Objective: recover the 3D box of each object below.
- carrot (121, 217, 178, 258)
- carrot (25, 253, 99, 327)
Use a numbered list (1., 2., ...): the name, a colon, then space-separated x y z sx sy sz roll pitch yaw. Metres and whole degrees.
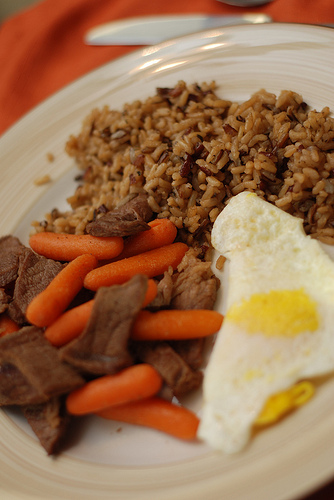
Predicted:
1. carrot: -0.083 -0.047 2.234 0.297 0.105 0.110 -16 40 -5
2. carrot: -0.436 0.146 2.057 0.149 0.134 0.425 12 42 23
